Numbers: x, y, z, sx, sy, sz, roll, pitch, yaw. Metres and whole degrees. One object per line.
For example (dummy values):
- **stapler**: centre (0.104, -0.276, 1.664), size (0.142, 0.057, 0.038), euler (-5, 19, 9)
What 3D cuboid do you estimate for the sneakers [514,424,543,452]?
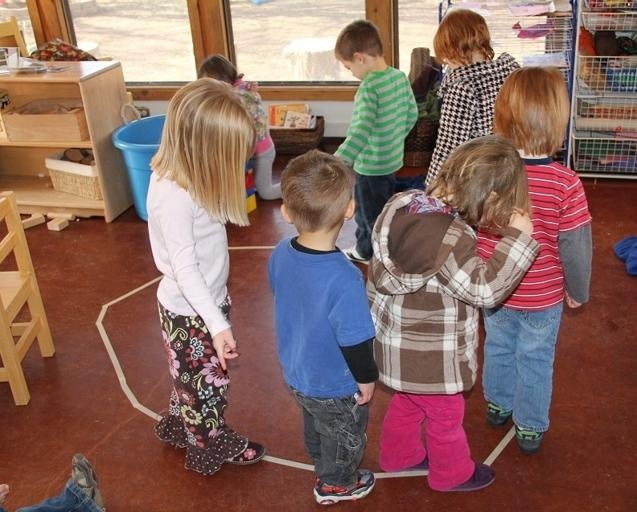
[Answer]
- **sneakers**: centre (0.910, 0.803, 2.303), size (0.075, 0.098, 0.144), euler (4, 38, 13)

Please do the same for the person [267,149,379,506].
- **person**: centre (0.030, 0.340, 1.899), size (0.353, 1.387, 0.365), euler (-6, 22, -4)

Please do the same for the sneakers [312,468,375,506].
- **sneakers**: centre (0.114, 0.936, 2.180), size (0.253, 0.132, 0.104), euler (-8, 20, -16)

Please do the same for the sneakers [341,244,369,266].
- **sneakers**: centre (0.257, -0.002, 3.795), size (0.249, 0.108, 0.093), euler (23, 30, 35)

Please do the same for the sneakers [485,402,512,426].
- **sneakers**: centre (0.823, 0.733, 2.441), size (0.067, 0.094, 0.137), euler (16, 34, 27)

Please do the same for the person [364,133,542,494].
- **person**: centre (0.479, 0.285, 1.971), size (0.582, 1.390, 0.349), euler (-3, 22, 5)

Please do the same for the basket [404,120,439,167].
- **basket**: centre (0.930, -1.058, 5.009), size (0.362, 0.272, 0.318), euler (12, 28, 25)

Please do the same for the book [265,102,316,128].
- **book**: centre (-0.298, -1.456, 5.534), size (0.354, 0.088, 0.356), euler (1, 30, 4)

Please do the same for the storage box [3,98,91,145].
- **storage box**: centre (-2.163, -1.106, 4.337), size (0.683, 0.327, 0.421), euler (-3, 21, 3)

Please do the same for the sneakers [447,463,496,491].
- **sneakers**: centre (0.625, 0.907, 2.177), size (0.179, 0.070, 0.086), euler (-14, 25, -7)
